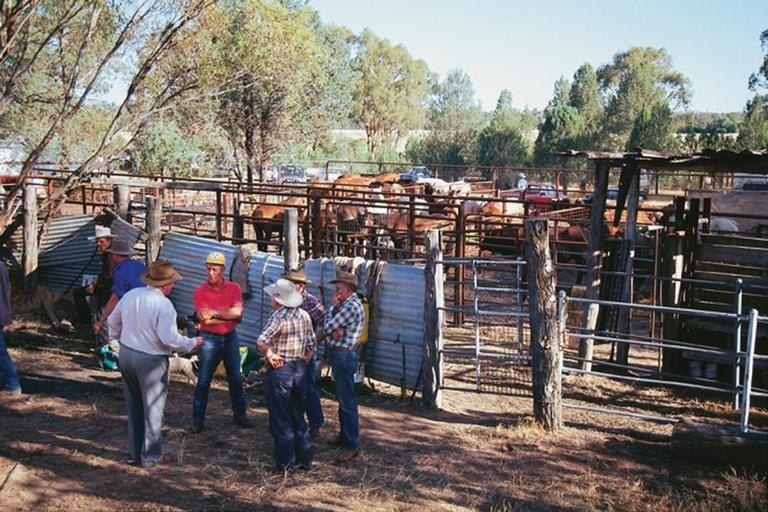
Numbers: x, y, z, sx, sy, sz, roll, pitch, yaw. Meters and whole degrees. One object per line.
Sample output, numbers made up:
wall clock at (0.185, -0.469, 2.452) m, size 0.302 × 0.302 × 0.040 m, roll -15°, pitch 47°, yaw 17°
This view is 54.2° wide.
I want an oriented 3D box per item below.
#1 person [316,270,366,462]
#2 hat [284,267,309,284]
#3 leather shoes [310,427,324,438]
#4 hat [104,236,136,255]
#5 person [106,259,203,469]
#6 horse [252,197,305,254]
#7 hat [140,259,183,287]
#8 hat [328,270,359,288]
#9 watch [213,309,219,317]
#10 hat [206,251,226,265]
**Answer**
person at (-0.671, 1.779, 12.354) m, size 0.667 × 3.062 × 0.381 m, roll 3°, pitch 4°, yaw 3°
hat at (-1.452, 0.349, 12.447) m, size 0.270 × 0.098 × 0.249 m, roll 19°, pitch 5°, yaw 5°
leather shoes at (-1.149, 3.004, 12.908) m, size 0.180 × 0.175 × 0.136 m, roll 11°, pitch -11°, yaw -24°
hat at (-4.807, -0.185, 13.587) m, size 0.367 × 0.165 × 0.352 m, roll 3°, pitch 5°, yaw 23°
person at (-3.718, 1.717, 11.936) m, size 1.255 × 3.258 × 0.483 m, roll 4°, pitch 4°, yaw 13°
horse at (-3.017, -0.907, 22.639) m, size 0.609 × 1.667 × 2.321 m, roll -3°, pitch 2°, yaw 36°
hat at (-3.525, 0.254, 11.967) m, size 0.437 × 0.186 × 0.464 m, roll 26°, pitch 33°, yaw 34°
hat at (-0.607, 0.412, 12.378) m, size 0.330 × 0.138 × 0.291 m, roll 17°, pitch -7°, yaw -8°
watch at (-2.854, 0.965, 12.843) m, size 0.067 × 0.100 × 0.105 m, roll 8°, pitch -40°, yaw -11°
hat at (-2.867, 0.050, 13.050) m, size 0.273 × 0.208 × 0.388 m, roll 4°, pitch -4°, yaw 6°
